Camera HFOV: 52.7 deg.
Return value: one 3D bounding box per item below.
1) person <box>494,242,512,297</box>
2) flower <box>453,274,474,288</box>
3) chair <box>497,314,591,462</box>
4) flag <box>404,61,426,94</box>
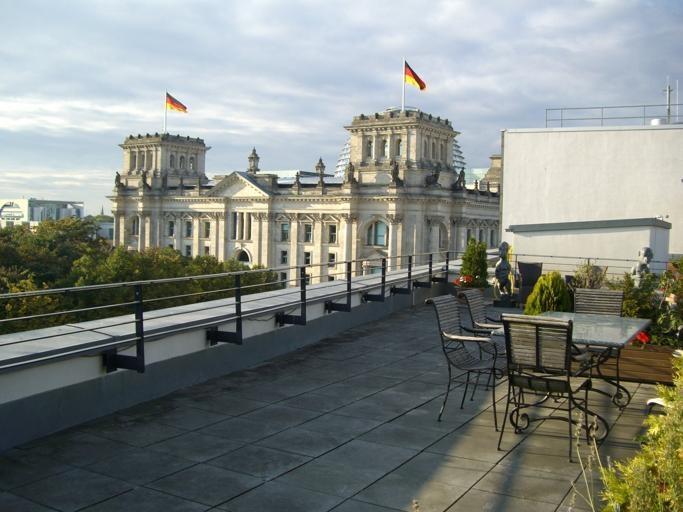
[{"bbox_3d":[4.132,0.245,17.686,0.396,1.379,1.579,2,9,13],"label":"person"},{"bbox_3d":[3.329,0.672,19.319,0.689,0.371,0.376,8,11,43],"label":"flower"},{"bbox_3d":[2.455,1.431,8.473,0.995,1.633,1.649,2,9,16],"label":"chair"},{"bbox_3d":[5.037,-12.711,48.524,1.365,1.854,3.286,1,8,5],"label":"flag"}]
